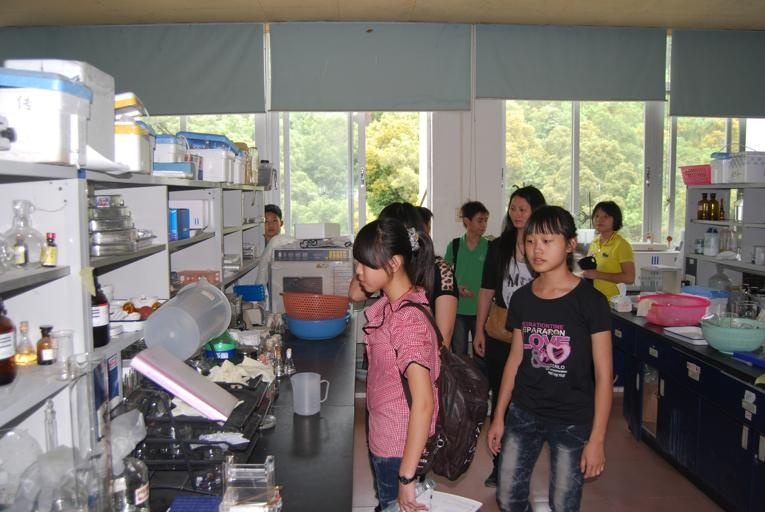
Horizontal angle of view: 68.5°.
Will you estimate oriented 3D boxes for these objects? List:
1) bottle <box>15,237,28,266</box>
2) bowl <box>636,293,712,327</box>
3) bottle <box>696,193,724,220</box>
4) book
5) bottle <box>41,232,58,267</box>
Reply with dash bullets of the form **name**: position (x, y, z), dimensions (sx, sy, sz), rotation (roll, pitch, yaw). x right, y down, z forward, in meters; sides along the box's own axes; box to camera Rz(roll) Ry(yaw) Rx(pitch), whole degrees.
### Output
- **bottle**: position (-1.316, -0.019, 2.040), dimensions (0.042, 0.099, 0.034), rotation (-7, 9, -31)
- **bowl**: position (2.033, 0.374, 3.893), dimensions (0.387, 0.141, 0.382), rotation (-3, 9, 0)
- **bottle**: position (2.905, -0.445, 4.962), dimensions (0.232, 0.325, 0.119), rotation (1, 4, 13)
- **book**: position (-0.717, 0.456, 2.036), dimensions (0.321, 0.255, 0.162), rotation (-2, 8, -1)
- **bottle**: position (-1.251, -0.026, 2.115), dimensions (0.039, 0.125, 0.066), rotation (-3, 8, -4)
